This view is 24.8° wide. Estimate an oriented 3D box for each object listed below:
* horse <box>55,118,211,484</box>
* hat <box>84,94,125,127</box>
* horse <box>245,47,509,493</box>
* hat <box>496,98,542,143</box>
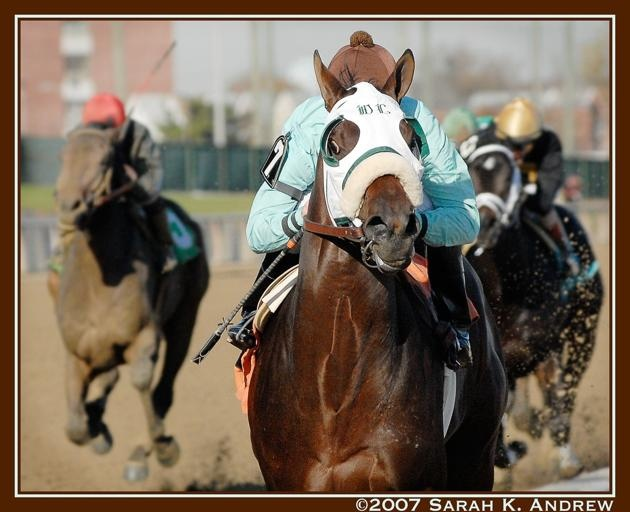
[{"bbox_3d":[-1.696,0.434,13.256,0.631,3.314,1.776,1,4,24],"label":"horse"},{"bbox_3d":[-1.866,-1.314,12.698,0.328,0.314,0.308,2,34,11],"label":"hat"},{"bbox_3d":[0.419,0.197,11.137,1.885,3.676,1.194,-1,4,-4],"label":"horse"},{"bbox_3d":[2.042,-1.417,14.386,0.342,0.424,0.488,4,41,9],"label":"hat"}]
